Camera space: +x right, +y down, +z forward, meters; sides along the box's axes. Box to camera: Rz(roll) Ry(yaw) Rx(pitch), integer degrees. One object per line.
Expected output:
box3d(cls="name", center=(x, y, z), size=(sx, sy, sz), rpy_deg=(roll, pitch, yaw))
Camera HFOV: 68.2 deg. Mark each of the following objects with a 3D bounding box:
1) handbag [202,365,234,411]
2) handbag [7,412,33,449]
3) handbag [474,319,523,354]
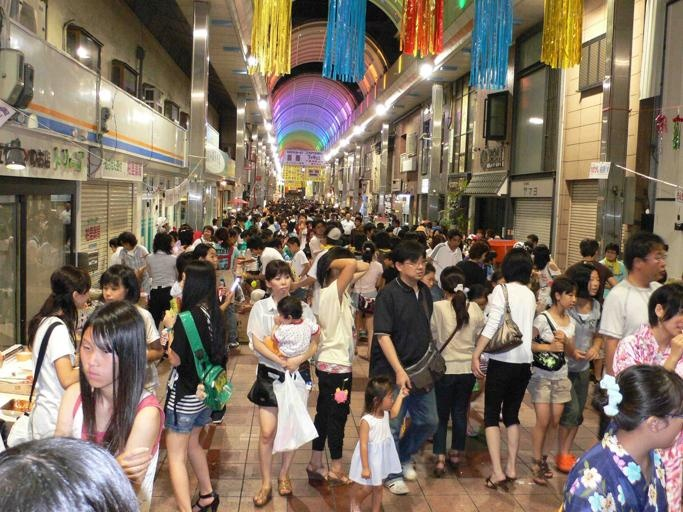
box3d(cls="handbag", center=(-0.899, 0.948, 3.633), size=(0.144, 0.304, 0.213), rpy_deg=(7, 23, 15))
box3d(cls="handbag", center=(-1.991, 1.067, 3.105), size=(0.113, 0.212, 0.296), rpy_deg=(0, 3, -37))
box3d(cls="handbag", center=(1.314, 0.666, 4.149), size=(0.212, 0.224, 0.087), rpy_deg=(-39, -29, 25))
